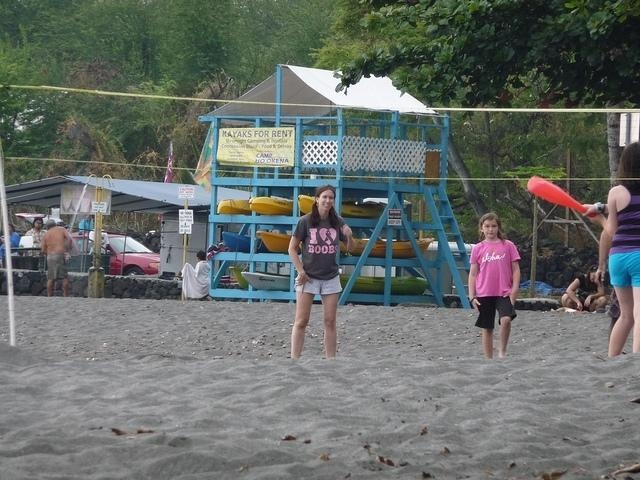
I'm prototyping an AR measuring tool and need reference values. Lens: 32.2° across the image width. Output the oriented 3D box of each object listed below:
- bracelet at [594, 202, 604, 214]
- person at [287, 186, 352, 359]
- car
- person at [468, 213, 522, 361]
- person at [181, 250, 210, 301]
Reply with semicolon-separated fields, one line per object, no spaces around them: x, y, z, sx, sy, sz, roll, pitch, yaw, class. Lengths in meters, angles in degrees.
3.989;-0.458;15.962;0.167;0.141;0.114;-7;11;-30;bracelet
-0.016;0.531;16.716;0.974;2.641;0.637;-3;9;-11;person
-5.919;0.410;32.436;2.238;0.948;1.344;-1;-1;12;car
2.679;0.748;17.128;0.764;2.300;0.830;0;8;9;person
-2.961;0.936;26.155;0.639;1.141;1.041;-2;8;-6;person
